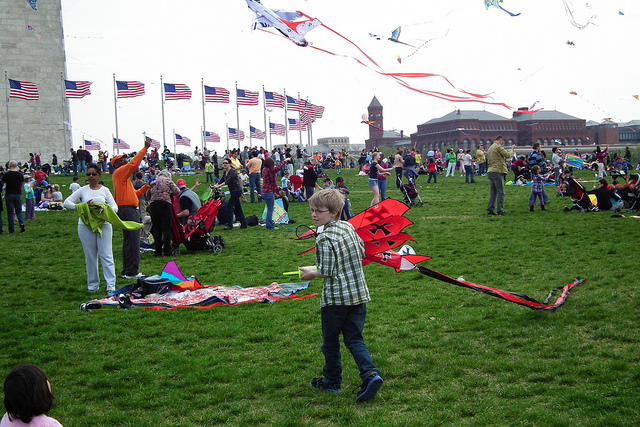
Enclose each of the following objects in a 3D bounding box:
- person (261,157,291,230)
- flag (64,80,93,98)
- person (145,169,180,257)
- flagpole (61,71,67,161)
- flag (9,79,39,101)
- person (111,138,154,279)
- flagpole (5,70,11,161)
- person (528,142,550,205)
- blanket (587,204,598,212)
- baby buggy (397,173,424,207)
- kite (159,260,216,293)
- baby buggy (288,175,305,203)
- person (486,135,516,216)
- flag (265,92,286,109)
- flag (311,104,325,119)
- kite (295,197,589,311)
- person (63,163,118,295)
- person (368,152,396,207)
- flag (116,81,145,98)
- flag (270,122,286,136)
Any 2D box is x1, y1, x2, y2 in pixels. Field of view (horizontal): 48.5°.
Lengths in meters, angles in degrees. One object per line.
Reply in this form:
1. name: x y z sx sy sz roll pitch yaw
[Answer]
1. person: -1.606 -0.640 23.031 0.887 2.295 1.099 3 0 -20
2. flag: -14.960 -7.663 43.984 1.614 1.077 0.946 -1 4 -34
3. person: -4.260 -0.011 19.326 0.896 2.208 0.893 0 0 27
4. flagpole: -20.437 -7.756 56.761 0.379 6.771 1.006 0 4 -17
5. flag: -18.363 -7.659 44.103 1.501 1.116 1.013 -1 4 -27
6. person: -4.559 -0.133 17.282 0.904 3.000 1.277 1 -5 -26
7. flagpole: -23.892 -7.571 54.410 0.309 6.667 1.188 0 4 -16
8. person: 8.119 -1.345 26.412 1.006 2.554 0.866 -1 -5 26
9. blanket: 9.323 -0.191 24.151 0.519 0.227 0.170 -4 11 -27
10. baby buggy: 3.469 -0.971 27.859 1.463 1.069 0.569 11 15 35
11. kite: -3.274 1.492 16.786 0.949 0.596 1.313 -2 5 -42
12. baby buggy: -1.034 -1.105 30.855 0.948 1.246 1.006 0 7 7
13. person: 5.929 -1.256 23.276 1.039 2.637 0.919 2 -6 -21
14. flag: -2.890 -6.969 43.700 1.467 0.936 1.014 3 4 22
15. flag: -0.194 -6.770 47.607 0.231 0.731 1.177 3 4 29
16. kite: 2.081 1.090 14.797 5.853 0.446 3.832 15 11 8
17. person: -5.175 0.339 16.159 1.209 2.896 0.907 -2 0 4
18. person: 2.249 -1.352 25.843 1.488 2.470 0.842 2 -4 5
19. flag: -12.113 -7.854 45.174 1.263 1.086 1.395 1 4 4
20. flag: -3.643 -7.092 60.262 1.203 0.910 1.008 1 4 -10
